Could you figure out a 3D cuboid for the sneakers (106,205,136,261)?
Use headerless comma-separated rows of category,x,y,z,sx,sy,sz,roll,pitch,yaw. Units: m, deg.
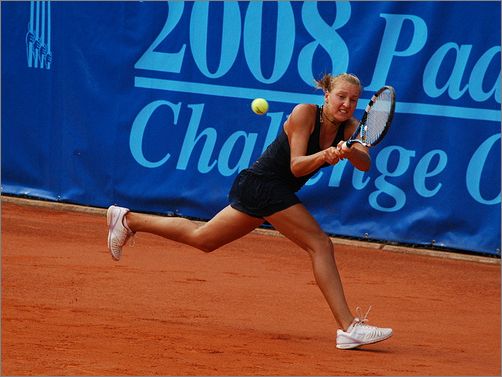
sneakers,-1.028,0.321,5.124,0.206,0.519,0.173,0,8,16
